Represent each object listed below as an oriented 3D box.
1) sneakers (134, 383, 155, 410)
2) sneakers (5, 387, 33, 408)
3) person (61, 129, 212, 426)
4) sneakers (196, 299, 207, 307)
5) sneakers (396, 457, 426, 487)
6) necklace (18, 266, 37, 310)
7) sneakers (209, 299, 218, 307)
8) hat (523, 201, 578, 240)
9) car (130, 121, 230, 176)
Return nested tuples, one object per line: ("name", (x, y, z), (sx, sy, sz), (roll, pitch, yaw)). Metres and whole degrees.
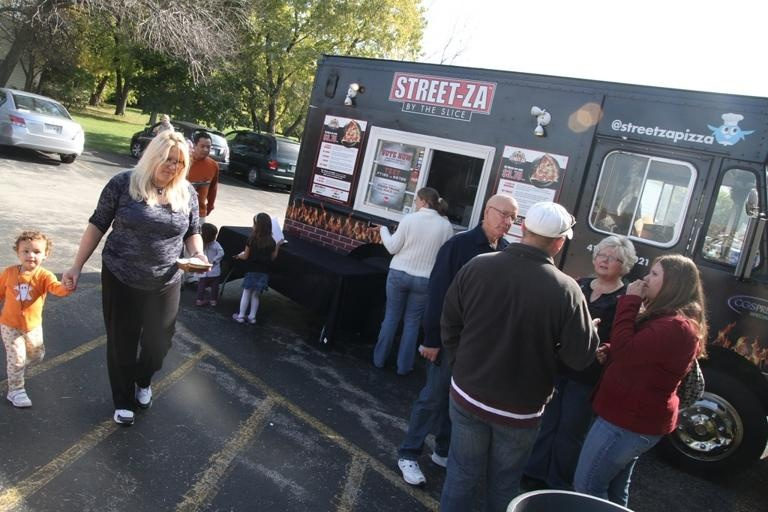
("sneakers", (-2.219, 1.314, 4.446), (0.097, 0.113, 0.265), (-3, 50, -31))
("sneakers", (-3.218, 1.244, 4.203), (0.114, 0.112, 0.264), (2, -2, -44))
("person", (-2.056, 0.215, 4.056), (0.997, 2.572, 0.510), (5, 13, -22))
("sneakers", (-2.565, 0.650, 6.690), (0.054, 0.059, 0.140), (3, 5, 24))
("sneakers", (0.236, 1.912, 4.234), (0.147, 0.118, 0.299), (0, 2, -28))
("necklace", (-3.043, 0.275, 4.061), (0.074, 0.307, 0.228), (-2, -2, 42))
("sneakers", (-2.433, 0.669, 6.787), (0.049, 0.056, 0.133), (2, 6, 2))
("hat", (1.153, -0.292, 3.305), (0.294, 0.161, 0.428), (29, 33, 24))
("car", (-7.734, -4.146, 17.817), (3.701, 1.583, 1.915), (16, 10, 19))
